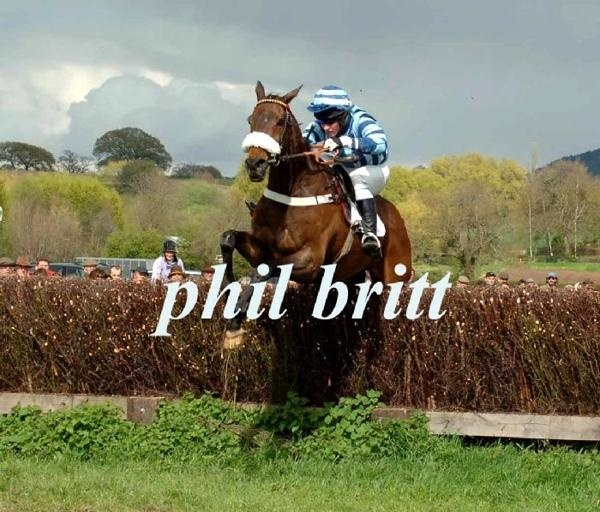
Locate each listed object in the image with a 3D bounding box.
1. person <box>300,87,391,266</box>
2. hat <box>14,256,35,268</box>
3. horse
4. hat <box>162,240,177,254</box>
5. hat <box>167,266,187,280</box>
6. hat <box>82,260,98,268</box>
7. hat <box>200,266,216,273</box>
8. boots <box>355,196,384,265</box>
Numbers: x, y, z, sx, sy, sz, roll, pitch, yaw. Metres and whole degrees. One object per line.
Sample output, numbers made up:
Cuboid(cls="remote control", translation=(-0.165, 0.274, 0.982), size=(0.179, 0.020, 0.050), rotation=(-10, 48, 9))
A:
Cuboid(cls="person", translation=(0.588, -0.893, 11.570), size=(0.860, 1.964, 0.787), rotation=(1, -19, -18))
Cuboid(cls="hat", translation=(-5.298, 0.108, 20.183), size=(0.598, 0.261, 0.708), rotation=(1, 0, -13))
Cuboid(cls="horse", translation=(0.364, -0.425, 11.824), size=(0.994, 3.027, 3.719), rotation=(9, 5, 31))
Cuboid(cls="hat", translation=(-1.836, -0.115, 14.661), size=(0.149, 0.191, 0.196), rotation=(2, 11, -2))
Cuboid(cls="hat", translation=(-1.564, 0.247, 13.311), size=(0.171, 0.135, 0.234), rotation=(1, -18, -7))
Cuboid(cls="hat", translation=(-3.061, 0.104, 15.267), size=(0.209, 0.075, 0.226), rotation=(-2, -2, 22))
Cuboid(cls="hat", translation=(-1.262, 0.188, 14.274), size=(0.165, 0.059, 0.181), rotation=(2, 0, 12))
Cuboid(cls="boots", translation=(0.736, -0.266, 11.351), size=(0.257, 0.168, 0.744), rotation=(19, 38, -13))
